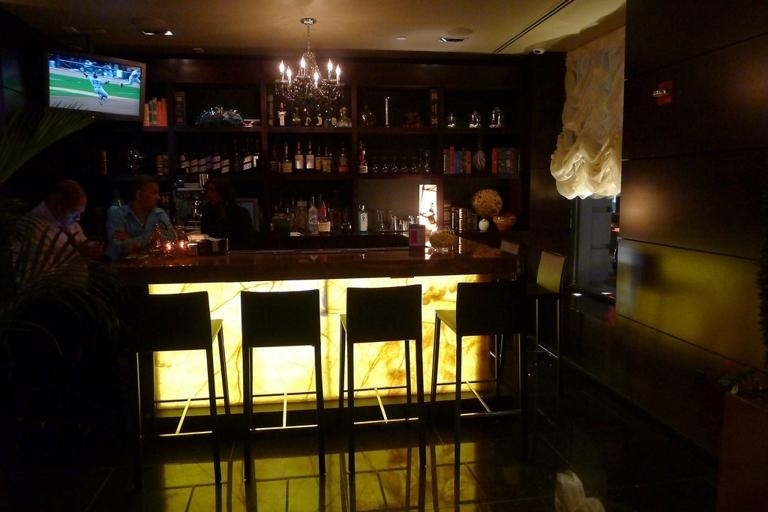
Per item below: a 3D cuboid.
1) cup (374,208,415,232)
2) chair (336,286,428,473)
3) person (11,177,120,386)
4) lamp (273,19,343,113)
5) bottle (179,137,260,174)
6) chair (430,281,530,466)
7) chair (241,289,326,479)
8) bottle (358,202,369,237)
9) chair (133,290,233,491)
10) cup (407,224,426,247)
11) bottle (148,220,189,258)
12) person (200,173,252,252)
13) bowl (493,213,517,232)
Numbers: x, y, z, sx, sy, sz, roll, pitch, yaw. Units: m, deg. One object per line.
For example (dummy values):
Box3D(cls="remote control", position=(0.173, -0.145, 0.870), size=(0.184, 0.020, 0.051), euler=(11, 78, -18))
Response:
Box3D(cls="cup", position=(0.083, -0.435, 7.228), size=(0.515, 0.284, 0.353), euler=(3, 10, 5))
Box3D(cls="chair", position=(-0.023, 0.920, 4.542), size=(0.645, 1.382, 0.704), euler=(-1, -4, -5))
Box3D(cls="person", position=(-2.664, 0.104, 4.915), size=(0.784, 1.467, 3.344), euler=(0, -4, -25))
Box3D(cls="lamp", position=(-0.742, -1.871, 5.849), size=(0.712, 0.895, 0.726), euler=(5, 12, 24))
Box3D(cls="bottle", position=(-1.933, -1.172, 6.923), size=(0.949, 0.451, 0.307), euler=(-2, -4, -1))
Box3D(cls="chair", position=(0.744, 0.880, 4.696), size=(0.739, 1.374, 0.782), euler=(-2, -4, 2))
Box3D(cls="chair", position=(-0.725, 0.927, 4.261), size=(0.591, 1.363, 0.342), euler=(-1, -4, -11))
Box3D(cls="bottle", position=(-0.251, -0.456, 7.157), size=(0.124, 0.389, 0.336), euler=(-1, -4, -2))
Box3D(cls="chair", position=(-1.497, 0.964, 4.382), size=(0.650, 1.395, 0.690), euler=(-1, -4, -12))
Box3D(cls="cup", position=(0.276, -0.170, 4.981), size=(0.132, 0.210, 0.203), euler=(-2, -4, 1))
Box3D(cls="bottle", position=(-1.793, -0.137, 4.861), size=(0.347, 0.312, 0.137), euler=(0, -4, -13))
Box3D(cls="person", position=(-1.664, -0.449, 6.226), size=(0.578, 0.752, 0.448), euler=(-1, 17, 19))
Box3D(cls="bowl", position=(1.447, -0.412, 7.161), size=(0.221, 0.154, 0.225), euler=(-1, 7, 0))
